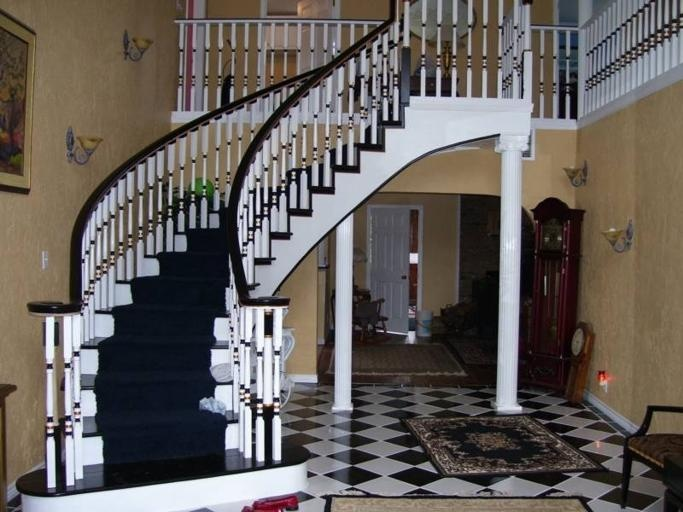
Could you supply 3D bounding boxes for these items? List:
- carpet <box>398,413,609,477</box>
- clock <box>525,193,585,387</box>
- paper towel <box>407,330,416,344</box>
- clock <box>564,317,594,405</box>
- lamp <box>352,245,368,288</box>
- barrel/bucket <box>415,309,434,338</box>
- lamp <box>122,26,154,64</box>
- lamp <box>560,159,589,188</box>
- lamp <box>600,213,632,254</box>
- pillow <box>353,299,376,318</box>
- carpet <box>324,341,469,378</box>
[{"bbox_3d":[1.607,1.963,7.085,1.627,0.301,1.378,-1,-4,-8],"label":"carpet"},{"bbox_3d":[2.734,0.492,8.817,0.789,2.453,0.523,-2,-3,19],"label":"clock"},{"bbox_3d":[1.301,1.533,12.821,0.118,0.230,0.122,0,1,2],"label":"paper towel"},{"bbox_3d":[2.981,1.337,8.592,0.294,1.005,0.442,-2,-3,3],"label":"clock"},{"bbox_3d":[0.367,0.219,13.883,0.282,0.833,0.536,-1,-3,1],"label":"lamp"},{"bbox_3d":[1.579,1.290,13.140,0.407,0.584,0.398,0,3,0],"label":"barrel/bucket"},{"bbox_3d":[-2.436,-2.468,8.022,0.211,0.248,0.379,-5,11,-44],"label":"lamp"},{"bbox_3d":[2.980,-1.058,8.780,0.289,0.324,0.426,-2,-3,6],"label":"lamp"},{"bbox_3d":[3.115,-0.241,7.699,0.173,0.324,0.315,8,7,-24],"label":"lamp"},{"bbox_3d":[0.383,0.920,12.334,0.296,0.421,0.310,-2,10,-20],"label":"pillow"},{"bbox_3d":[0.996,1.636,10.833,1.654,0.338,2.310,-2,-4,1],"label":"carpet"}]
